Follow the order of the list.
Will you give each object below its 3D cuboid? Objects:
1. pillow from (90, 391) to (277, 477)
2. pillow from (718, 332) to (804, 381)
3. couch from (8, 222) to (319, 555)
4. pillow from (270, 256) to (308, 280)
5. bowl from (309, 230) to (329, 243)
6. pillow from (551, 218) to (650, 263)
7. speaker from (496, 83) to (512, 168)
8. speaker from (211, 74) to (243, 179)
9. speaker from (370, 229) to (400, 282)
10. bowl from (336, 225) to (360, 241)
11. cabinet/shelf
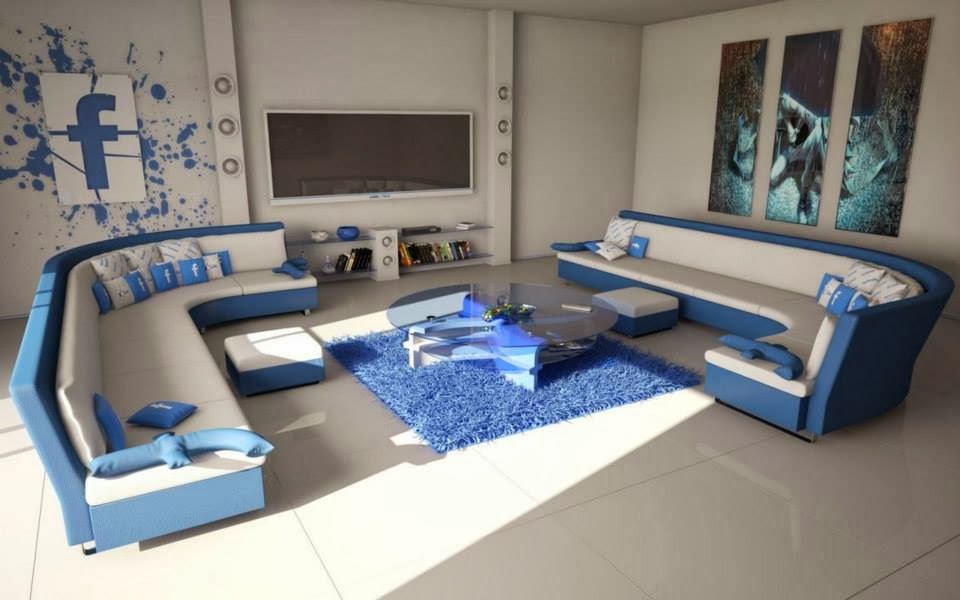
[{"bbox_3d":[-2.170,1.010,3.979,0.764,0.273,0.770,-4,12,-16],"label":"pillow"},{"bbox_3d":[2.522,0.492,5.029,0.235,0.193,0.690,-14,22,-30],"label":"pillow"},{"bbox_3d":[-2.746,0.750,4.866,1.734,0.745,2.538,-9,21,-32],"label":"couch"},{"bbox_3d":[-2.405,-0.402,7.265,0.333,0.132,0.316,6,21,-17],"label":"pillow"},{"bbox_3d":[-2.333,-0.926,8.190,0.169,0.140,0.216,15,22,41],"label":"bowl"},{"bbox_3d":[1.902,-0.810,8.093,0.977,0.334,0.761,-7,19,-23],"label":"pillow"},{"bbox_3d":[0.380,-2.790,9.021,0.374,1.292,0.192,-10,21,-17],"label":"speaker"},{"bbox_3d":[-3.382,-2.329,7.544,0.392,1.298,0.174,-10,22,-18],"label":"speaker"},{"bbox_3d":[-1.430,-0.679,8.500,0.425,0.748,0.296,-6,20,-9],"label":"speaker"},{"bbox_3d":[-1.968,-0.993,8.357,0.241,0.131,0.245,0,12,0],"label":"bowl"},{"bbox_3d":[-1.572,-0.760,8.869,3.535,0.815,0.572,-3,2,10],"label":"cabinet/shelf"}]
